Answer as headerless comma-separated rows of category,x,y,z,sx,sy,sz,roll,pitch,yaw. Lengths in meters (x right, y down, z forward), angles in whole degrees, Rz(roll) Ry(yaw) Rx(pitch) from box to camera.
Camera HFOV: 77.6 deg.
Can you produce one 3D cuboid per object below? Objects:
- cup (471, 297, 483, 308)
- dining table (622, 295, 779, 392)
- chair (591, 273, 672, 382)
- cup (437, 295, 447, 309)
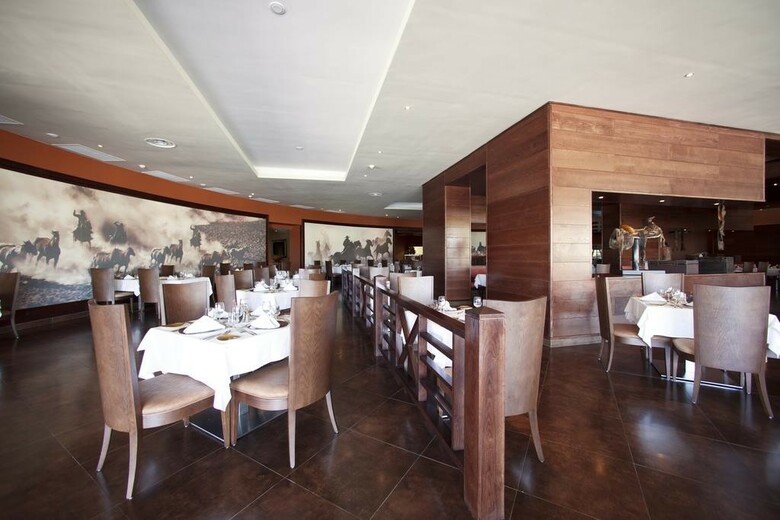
cup,1.015,0.486,5.647,0.112,0.104,0.115,2,3,0
dining table,3.914,0.857,6.656,1.419,0.698,1.395,-1,12,3
chair,3.668,0.968,7.799,1.437,1.998,1.439,0,2,9
cup,0.671,0.581,6.525,0.108,0.168,0.179,-3,-11,28
